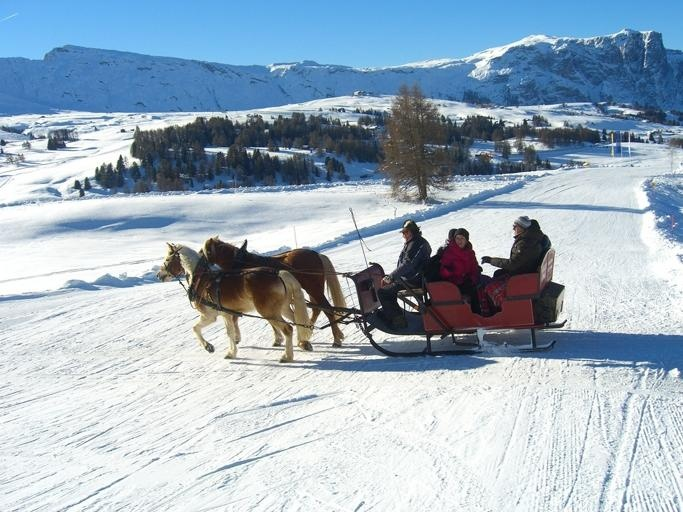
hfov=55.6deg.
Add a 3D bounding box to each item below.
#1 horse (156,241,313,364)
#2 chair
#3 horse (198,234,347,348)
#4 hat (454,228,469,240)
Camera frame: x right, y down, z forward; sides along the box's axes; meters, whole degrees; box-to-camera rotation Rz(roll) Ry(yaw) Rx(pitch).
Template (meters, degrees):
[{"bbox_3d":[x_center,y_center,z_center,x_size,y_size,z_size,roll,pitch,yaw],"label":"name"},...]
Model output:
[{"bbox_3d":[-2.056,0.896,12.399,3.261,2.240,0.902,-3,8,22],"label":"horse"},{"bbox_3d":[2.630,0.601,11.248,2.015,1.312,1.283,-4,-3,21],"label":"chair"},{"bbox_3d":[-1.383,0.727,13.129,3.214,2.363,0.892,-5,6,5],"label":"horse"},{"bbox_3d":[2.129,-0.397,11.316,0.170,0.188,0.232,13,11,-9],"label":"hat"}]
